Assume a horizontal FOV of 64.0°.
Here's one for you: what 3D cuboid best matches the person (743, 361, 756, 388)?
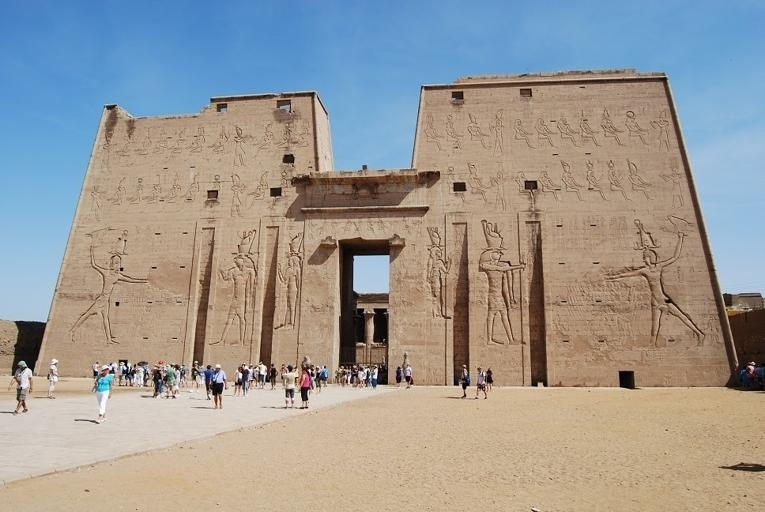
[{"bbox_3d":[17.549,5.689,29.148,0.370,1.131,0.917,-2,-14,6],"label":"person"}]

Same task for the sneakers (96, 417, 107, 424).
[{"bbox_3d":[-8.310,4.862,18.094,0.141,0.169,0.404,4,-17,-19],"label":"sneakers"}]
